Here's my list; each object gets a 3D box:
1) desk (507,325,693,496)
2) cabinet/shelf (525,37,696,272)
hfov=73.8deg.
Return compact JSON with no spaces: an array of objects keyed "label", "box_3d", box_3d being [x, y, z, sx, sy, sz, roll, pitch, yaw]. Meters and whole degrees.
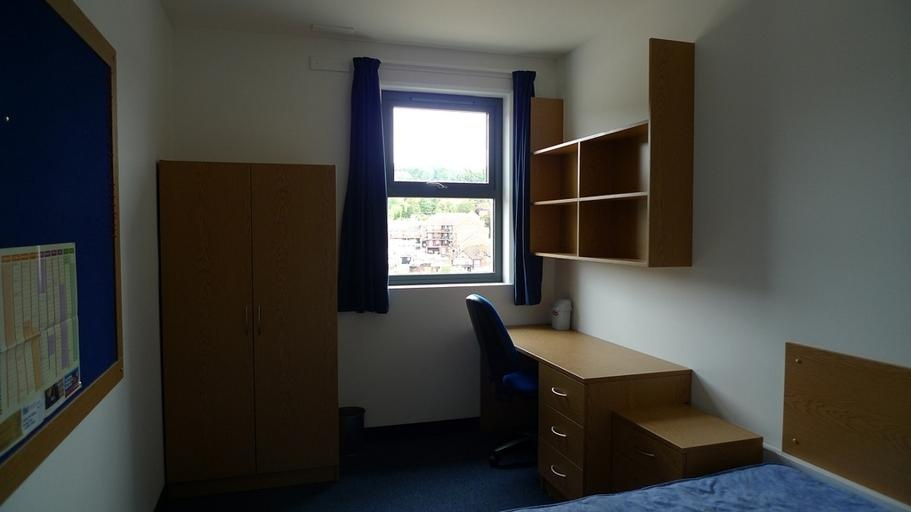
[{"label":"desk","box_3d":[0.982,1.218,5.341,1.131,1.169,1.940,-5,13,-17]},{"label":"cabinet/shelf","box_3d":[1.290,-0.827,4.946,0.488,1.690,2.068,1,1,-9]}]
